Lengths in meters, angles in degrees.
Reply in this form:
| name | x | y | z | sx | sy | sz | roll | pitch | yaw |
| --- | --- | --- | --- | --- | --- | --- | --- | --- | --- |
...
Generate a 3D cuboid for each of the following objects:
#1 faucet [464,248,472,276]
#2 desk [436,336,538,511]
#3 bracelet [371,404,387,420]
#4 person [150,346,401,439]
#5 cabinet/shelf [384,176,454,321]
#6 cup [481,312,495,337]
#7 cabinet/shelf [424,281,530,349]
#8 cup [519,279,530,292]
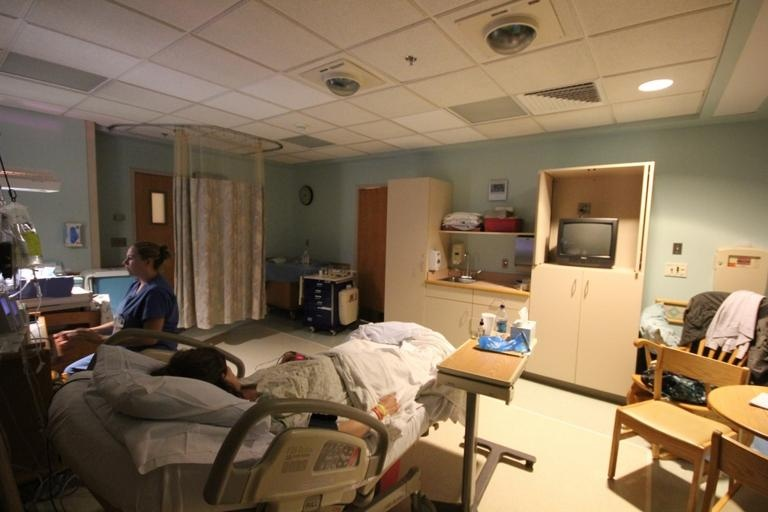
| name | x | y | z | sx | sy | sz | roll | pitch | yaw |
| --- | --- | --- | --- | --- | --- | --- | --- | --- | --- |
| faucet | 1.068 | 0.078 | 6.394 | 0.125 | 0.312 | 0.074 | 5 | 5 | 30 |
| desk | 0.851 | 1.451 | 4.251 | 0.851 | 1.263 | 1.303 | 1 | 5 | 27 |
| bracelet | -0.031 | 1.164 | 3.778 | 0.096 | 0.037 | 0.098 | 11 | 3 | -35 |
| person | -0.803 | 0.850 | 3.656 | 1.169 | 0.545 | 0.826 | 10 | 5 | 23 |
| cabinet/shelf | 0.309 | -0.075 | 6.359 | 0.625 | 1.800 | 0.166 | 5 | 5 | 33 |
| cup | 0.905 | 0.593 | 4.454 | 0.165 | 0.177 | 0.162 | -1 | 2 | 0 |
| cabinet/shelf | 1.011 | 0.610 | 5.312 | 0.803 | 0.677 | 0.317 | 2 | 1 | 35 |
| cup | 1.600 | 0.321 | 5.685 | 0.120 | 0.057 | 0.115 | -4 | 19 | 1 |
